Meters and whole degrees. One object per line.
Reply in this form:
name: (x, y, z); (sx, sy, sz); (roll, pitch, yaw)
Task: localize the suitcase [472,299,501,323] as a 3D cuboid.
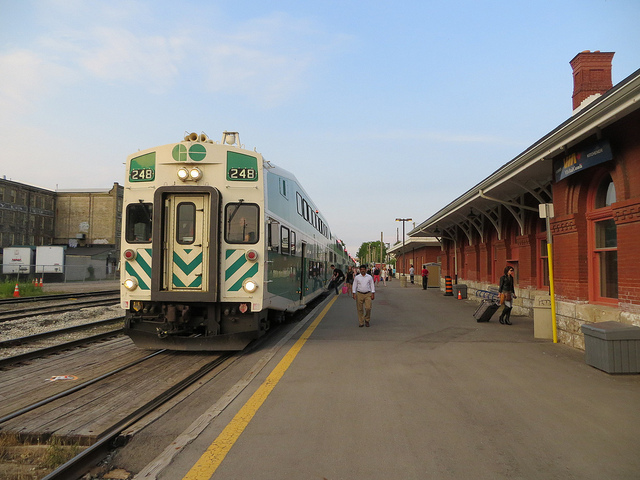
suitcase: (5.217, 2.187, 14.203); (0.716, 0.721, 0.560); (-2, -6, 28)

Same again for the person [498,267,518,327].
person: (5.717, 1.691, 13.994); (0.437, 1.773, 1.212); (-1, -6, 22)

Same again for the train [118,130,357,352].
train: (-1.534, 0.342, 14.816); (2.984, 4.106, 11.294); (-1, -2, 11)
